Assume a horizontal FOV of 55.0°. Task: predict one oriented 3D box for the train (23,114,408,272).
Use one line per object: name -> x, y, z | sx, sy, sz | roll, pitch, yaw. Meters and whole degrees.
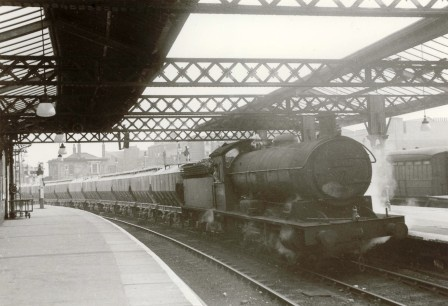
train -> -10.083, 3.535, 39.085 | 3.992, 4.844, 59.034 | -1, -4, -30
